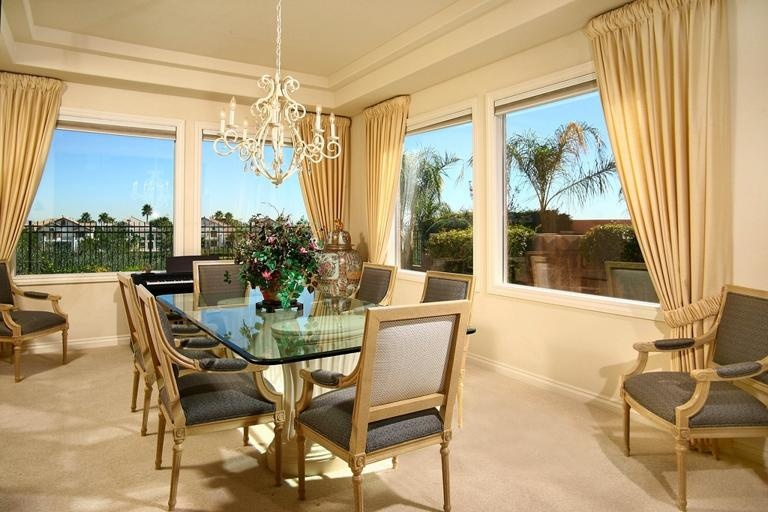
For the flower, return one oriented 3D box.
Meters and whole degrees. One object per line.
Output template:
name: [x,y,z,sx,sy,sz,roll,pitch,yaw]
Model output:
flower: [-0.965,0.109,4.635,0.652,0.700,0.653,9,12,41]
